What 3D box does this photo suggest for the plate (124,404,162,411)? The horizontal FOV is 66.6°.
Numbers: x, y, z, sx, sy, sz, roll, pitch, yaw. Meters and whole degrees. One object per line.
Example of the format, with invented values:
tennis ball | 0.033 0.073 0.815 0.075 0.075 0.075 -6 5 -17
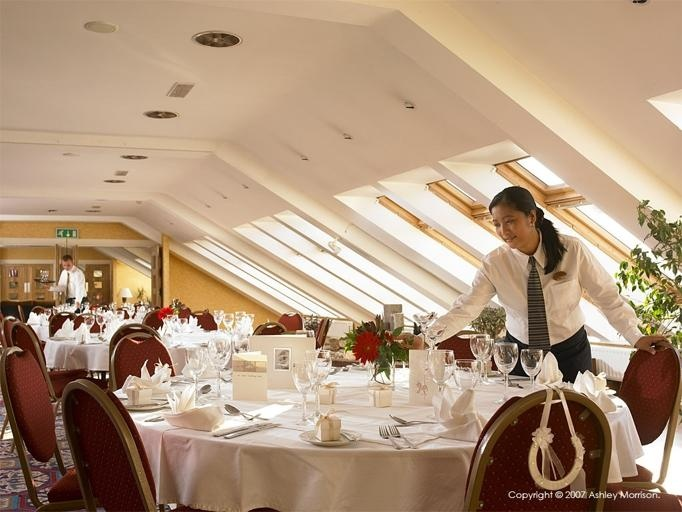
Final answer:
plate | -0.908 0.691 2.383 0.097 0.016 0.059 5 2 -20
